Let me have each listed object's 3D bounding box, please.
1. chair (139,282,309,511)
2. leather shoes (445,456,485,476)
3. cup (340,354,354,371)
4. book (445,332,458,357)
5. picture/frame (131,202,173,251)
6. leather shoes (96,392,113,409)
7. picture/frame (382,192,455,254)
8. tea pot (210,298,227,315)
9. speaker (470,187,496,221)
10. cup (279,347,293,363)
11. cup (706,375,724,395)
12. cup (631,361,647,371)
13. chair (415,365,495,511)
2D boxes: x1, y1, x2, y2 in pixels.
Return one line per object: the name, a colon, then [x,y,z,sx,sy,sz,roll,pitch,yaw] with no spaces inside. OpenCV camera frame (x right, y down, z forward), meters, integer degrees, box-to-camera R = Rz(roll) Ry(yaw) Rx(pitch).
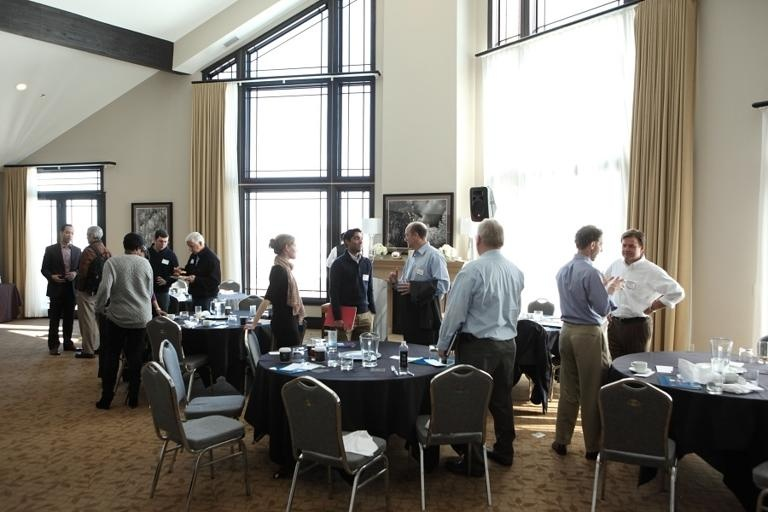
chair: [-2.178,1.845,7.018,1.411,1.735,1.063,2,4,35]
leather shoes: [0.935,2.416,7.177,0.484,0.216,0.178,1,-3,37]
cup: [-0.425,1.211,7.022,0.145,0.182,0.155,0,-2,0]
book: [0.779,1.018,7.032,0.042,0.202,0.190,14,-3,16]
picture/frame: [-4.546,-0.592,12.104,1.014,1.317,0.057,0,0,10]
leather shoes: [-3.905,1.996,8.505,0.150,0.253,0.252,20,-15,-8]
picture/frame: [0.688,-0.617,11.134,1.086,1.048,0.075,0,-2,14]
tea pot: [-2.528,0.784,9.315,0.273,0.316,0.171,1,2,-17]
speaker: [1.678,-0.875,10.430,0.402,0.583,0.509,1,3,9]
cup: [-1.151,1.153,7.173,0.138,0.138,0.146,1,2,0]
cup: [3.544,1.354,6.561,0.180,0.204,0.149,-4,8,-32]
cup: [2.904,1.242,6.954,0.159,0.113,0.103,-5,-5,44]
chair: [0.786,1.946,6.771,0.851,1.565,0.479,0,3,4]
